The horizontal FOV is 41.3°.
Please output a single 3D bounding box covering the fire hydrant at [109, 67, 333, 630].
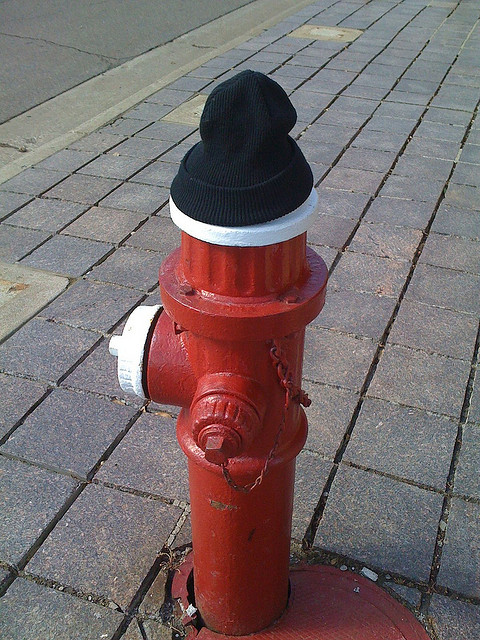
[{"bbox_3d":[-0.055,0.315,1.854,0.637,1.940,0.563,-4,37,5],"label":"fire hydrant"}]
